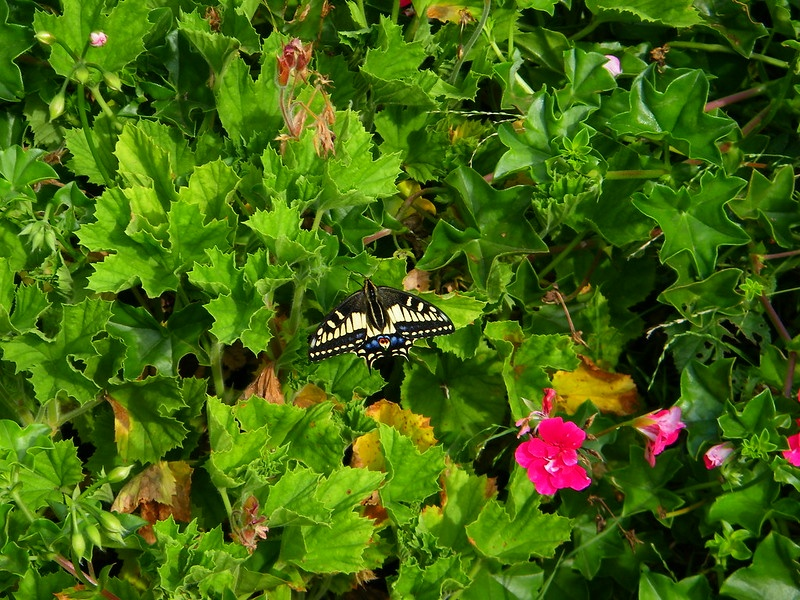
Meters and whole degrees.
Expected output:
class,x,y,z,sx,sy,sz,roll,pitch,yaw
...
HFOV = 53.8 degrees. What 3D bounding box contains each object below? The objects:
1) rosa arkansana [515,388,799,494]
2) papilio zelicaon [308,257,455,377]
class,x,y,z,sx,sy,sz,roll,pitch,yaw
rosa arkansana,0.622,0.362,2.006,0.622,0.171,0.339,-3,61,-8
papilio zelicaon,-0.061,0.044,1.971,0.356,0.185,0.193,-20,77,-5
